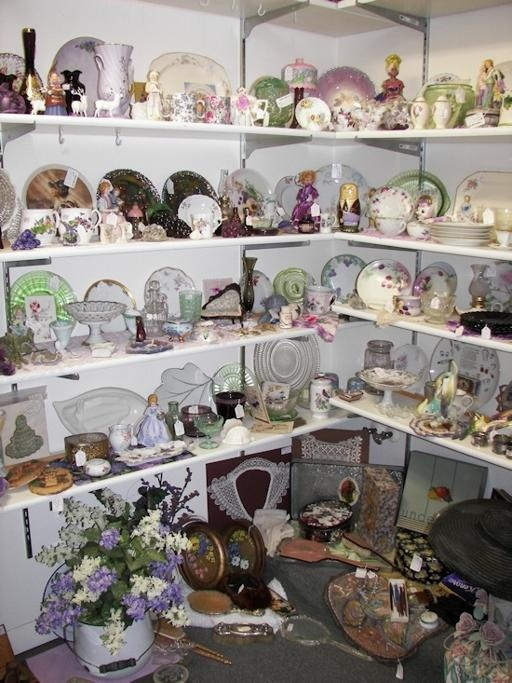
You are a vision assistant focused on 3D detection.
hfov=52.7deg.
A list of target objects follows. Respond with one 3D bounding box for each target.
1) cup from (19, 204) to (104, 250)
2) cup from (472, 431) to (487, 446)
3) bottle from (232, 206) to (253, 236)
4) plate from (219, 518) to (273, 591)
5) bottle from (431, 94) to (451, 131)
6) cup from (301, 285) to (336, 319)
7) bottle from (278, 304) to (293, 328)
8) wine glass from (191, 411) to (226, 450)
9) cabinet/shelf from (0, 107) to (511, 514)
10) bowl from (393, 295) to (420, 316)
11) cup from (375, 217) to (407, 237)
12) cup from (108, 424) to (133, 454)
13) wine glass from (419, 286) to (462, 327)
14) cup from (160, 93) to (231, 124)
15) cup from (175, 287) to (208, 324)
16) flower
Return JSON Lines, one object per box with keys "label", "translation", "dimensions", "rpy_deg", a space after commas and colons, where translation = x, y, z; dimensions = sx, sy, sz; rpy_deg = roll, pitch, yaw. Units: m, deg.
{"label": "cup", "translation": [-0.551, -0.318, 1.471], "dimensions": [0.200, 0.087, 0.119], "rpy_deg": [-6, 8, -38]}
{"label": "cup", "translation": [0.707, 0.310, 1.633], "dimensions": [0.042, 0.034, 0.042], "rpy_deg": [-4, 9, 1]}
{"label": "bottle", "translation": [-0.048, -0.431, 1.862], "dimensions": [0.068, 0.104, 0.151], "rpy_deg": [-3, 13, 2]}
{"label": "plate", "translation": [-0.049, 0.834, 2.033], "dimensions": [0.166, 0.164, 0.233], "rpy_deg": [-4, 13, -2]}
{"label": "bottle", "translation": [0.584, -0.720, 1.632], "dimensions": [0.054, 0.121, 0.158], "rpy_deg": [1, 13, 20]}
{"label": "cup", "translation": [0.257, -0.170, 2.194], "dimensions": [0.143, 0.106, 0.107], "rpy_deg": [0, 13, -16]}
{"label": "bottle", "translation": [0.118, -0.091, 2.029], "dimensions": [0.053, 0.085, 0.088], "rpy_deg": [-3, 15, -14]}
{"label": "wine glass", "translation": [-0.167, 0.320, 1.942], "dimensions": [0.124, 0.129, 0.121], "rpy_deg": [7, 14, 21]}
{"label": "cabinet/shelf", "translation": [0.001, -0.122, 1.851], "dimensions": [1.578, 0.964, 0.883], "rpy_deg": [-9, 16, -33]}
{"label": "bowl", "translation": [0.543, -0.129, 1.857], "dimensions": [0.076, 0.054, 0.079], "rpy_deg": [0, 7, 0]}
{"label": "cup", "translation": [0.477, -0.411, 1.845], "dimensions": [0.093, 0.050, 0.072], "rpy_deg": [8, 17, -2]}
{"label": "cup", "translation": [-0.460, 0.330, 1.747], "dimensions": [0.074, 0.094, 0.094], "rpy_deg": [3, 3, 38]}
{"label": "wine glass", "translation": [0.640, -0.133, 1.817], "dimensions": [0.112, 0.107, 0.087], "rpy_deg": [1, 13, 17]}
{"label": "cup", "translation": [-0.187, -0.719, 1.634], "dimensions": [0.200, 0.075, 0.116], "rpy_deg": [-5, 8, -38]}
{"label": "cup", "translation": [-0.240, -0.132, 1.974], "dimensions": [0.117, 0.172, 0.120], "rpy_deg": [2, 25, -1]}
{"label": "flower", "translation": [-0.426, 0.769, 1.719], "dimensions": [0.451, 0.575, 0.506], "rpy_deg": [-1, 13, 9]}
